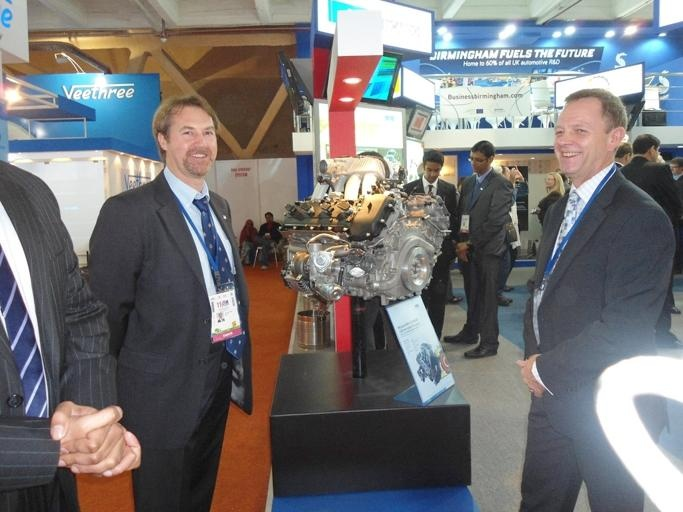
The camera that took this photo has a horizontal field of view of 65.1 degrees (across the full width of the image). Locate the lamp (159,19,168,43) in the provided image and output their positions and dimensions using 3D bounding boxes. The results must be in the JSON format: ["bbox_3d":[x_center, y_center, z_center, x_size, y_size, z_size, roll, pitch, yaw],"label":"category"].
[{"bbox_3d":[-3.878,-4.932,11.647,0.158,0.399,0.621,-4,11,-18],"label":"lamp"}]

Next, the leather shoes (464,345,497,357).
[{"bbox_3d":[1.363,0.948,5.300,0.324,0.139,0.121,1,0,-8],"label":"leather shoes"}]

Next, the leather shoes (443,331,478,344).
[{"bbox_3d":[1.275,0.863,5.833,0.401,0.175,0.140,3,1,6],"label":"leather shoes"}]

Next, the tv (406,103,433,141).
[{"bbox_3d":[1.443,-2.502,10.082,0.175,0.727,0.770,24,19,30],"label":"tv"}]

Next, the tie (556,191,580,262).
[{"bbox_3d":[1.023,-0.135,2.447,0.063,0.271,0.217,25,8,25],"label":"tie"}]

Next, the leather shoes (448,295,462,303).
[{"bbox_3d":[1.692,0.660,8.098,0.100,0.113,0.279,-1,-9,-11],"label":"leather shoes"}]

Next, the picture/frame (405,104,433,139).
[{"bbox_3d":[1.436,-2.499,10.079,0.174,0.721,0.764,24,20,31],"label":"picture/frame"}]
